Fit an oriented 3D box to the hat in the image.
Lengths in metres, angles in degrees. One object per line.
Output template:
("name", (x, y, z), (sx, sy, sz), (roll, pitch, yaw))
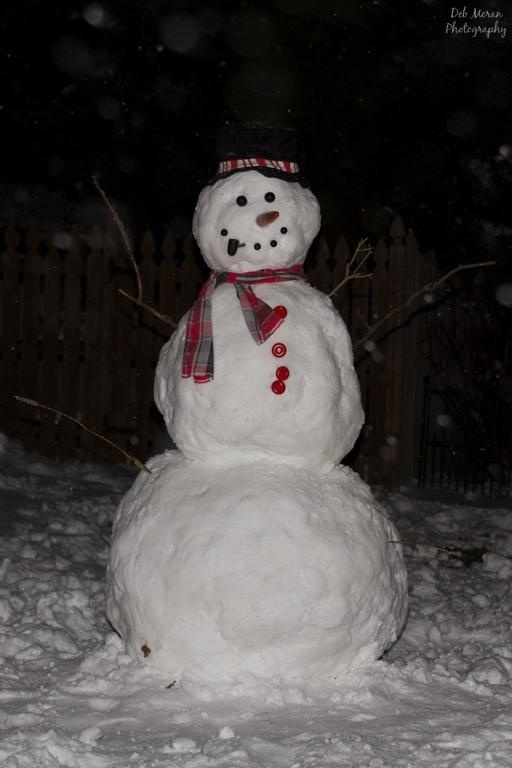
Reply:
("hat", (0.010, -1.197, 4.667), (0.543, 0.273, 0.538), (-2, 12, 2))
